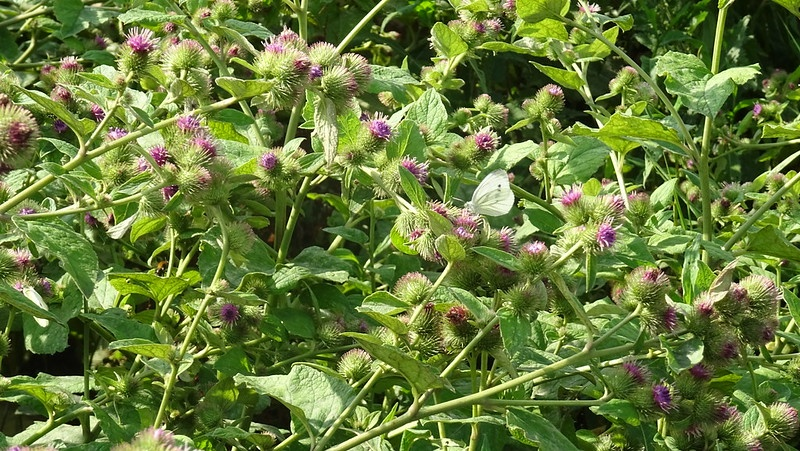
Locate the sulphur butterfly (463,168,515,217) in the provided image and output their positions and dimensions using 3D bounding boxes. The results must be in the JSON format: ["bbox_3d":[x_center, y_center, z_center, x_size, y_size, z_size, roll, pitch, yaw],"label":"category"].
[{"bbox_3d":[0.396,-0.135,4.372,0.200,0.215,0.140,-3,55,8],"label":"sulphur butterfly"}]
